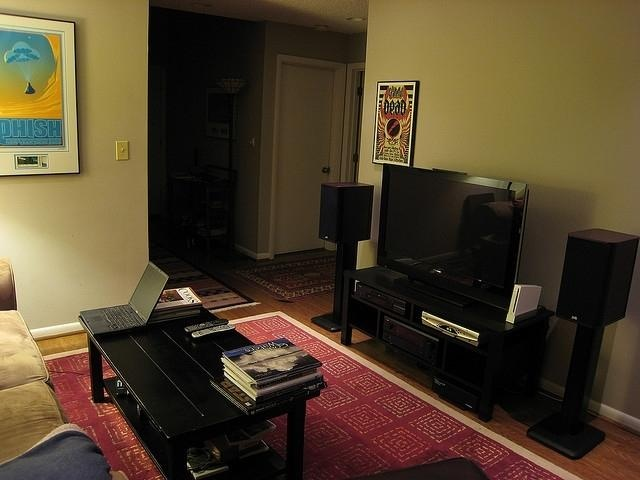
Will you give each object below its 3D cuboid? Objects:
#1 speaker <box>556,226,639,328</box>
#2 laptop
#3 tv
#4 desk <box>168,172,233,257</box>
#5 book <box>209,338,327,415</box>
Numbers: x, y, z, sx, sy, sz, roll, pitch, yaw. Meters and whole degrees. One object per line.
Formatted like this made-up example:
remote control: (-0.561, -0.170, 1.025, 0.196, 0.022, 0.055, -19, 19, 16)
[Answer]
speaker: (1.590, 0.210, 2.765, 0.316, 0.484, 0.375, 18, 23, 41)
laptop: (-1.149, 0.399, 2.892, 0.485, 0.324, 0.446, -9, 26, -26)
tv: (0.943, -0.012, 3.287, 0.250, 0.682, 0.945, -16, 29, -37)
desk: (-1.614, -0.531, 6.485, 0.428, 1.111, 1.189, -13, 20, -37)
book: (-0.286, 0.634, 2.359, 0.469, 0.151, 0.433, -8, 20, -32)
